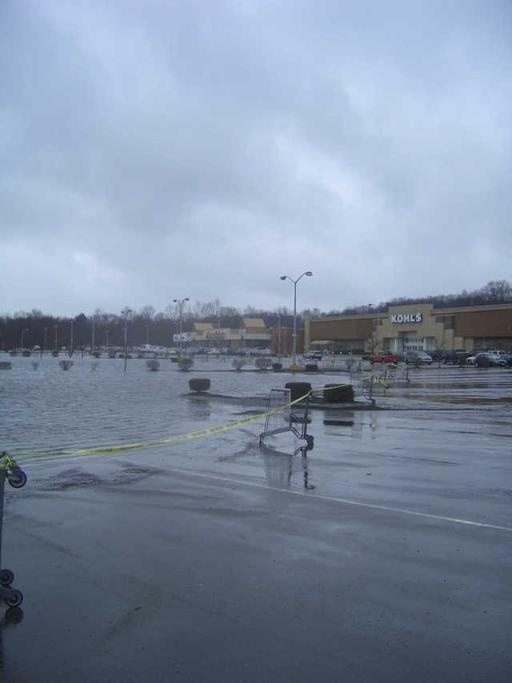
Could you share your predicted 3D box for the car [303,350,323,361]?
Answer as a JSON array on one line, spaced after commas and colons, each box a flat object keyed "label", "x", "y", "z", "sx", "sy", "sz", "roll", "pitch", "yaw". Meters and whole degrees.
[{"label": "car", "x": 7.352, "y": 1.853, "z": 80.648, "sx": 1.292, "sy": 1.309, "sz": 2.320, "roll": -6, "pitch": -13, "yaw": 39}]

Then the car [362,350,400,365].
[{"label": "car", "x": 14.144, "y": 1.809, "z": 71.708, "sx": 1.403, "sy": 1.268, "sz": 3.229, "roll": 1, "pitch": 2, "yaw": -25}]
